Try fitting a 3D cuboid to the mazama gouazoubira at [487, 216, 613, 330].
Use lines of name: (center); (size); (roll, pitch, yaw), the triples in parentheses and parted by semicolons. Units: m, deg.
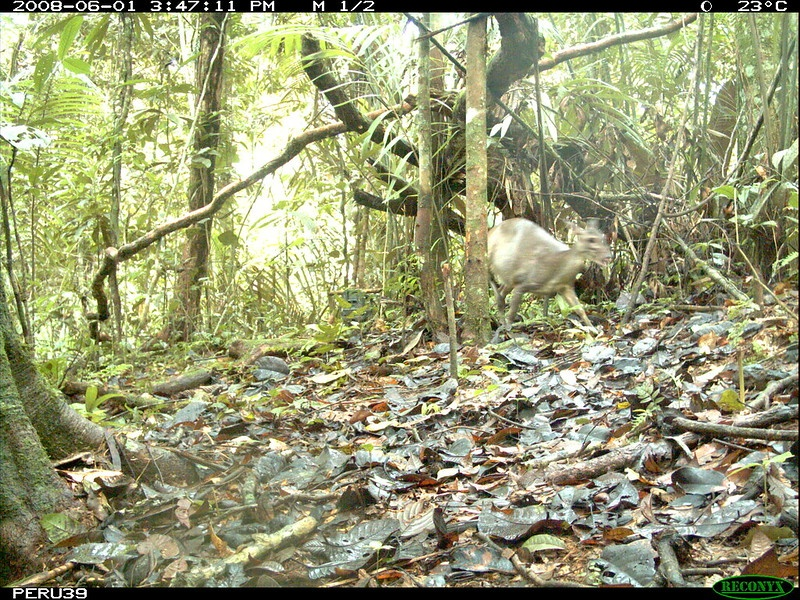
mazama gouazoubira: (1.007, -0.243, 5.009); (0.487, 0.827, 1.255); (-13, 21, -31)
